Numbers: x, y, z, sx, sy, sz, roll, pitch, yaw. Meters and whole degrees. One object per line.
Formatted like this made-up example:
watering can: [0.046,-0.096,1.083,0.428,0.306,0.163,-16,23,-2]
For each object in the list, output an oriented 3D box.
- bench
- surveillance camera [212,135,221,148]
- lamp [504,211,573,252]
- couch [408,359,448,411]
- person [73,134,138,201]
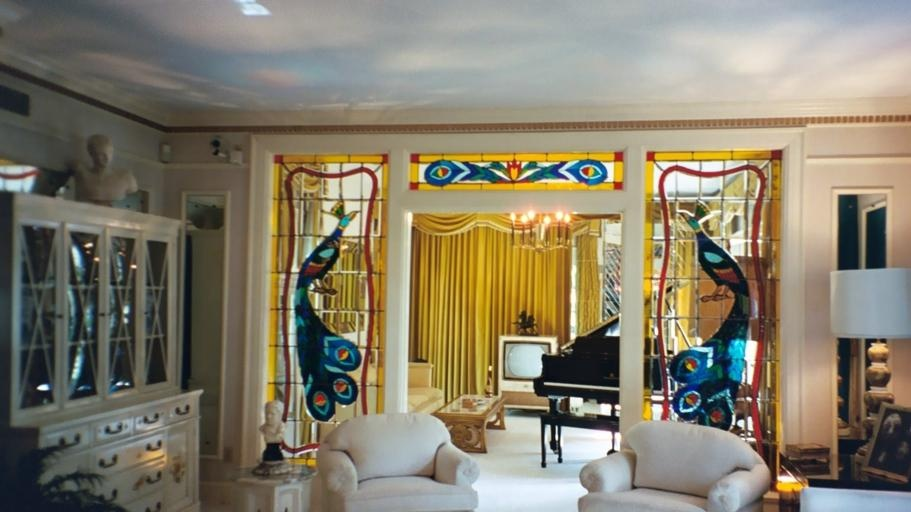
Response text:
bench: [1.587,2.121,9.639,0.852,0.532,0.465,-8,-31,14]
surveillance camera: [-2.673,-1.271,8.963,0.112,0.101,0.026,10,1,-3]
lamp: [1.357,-0.391,12.204,0.742,0.916,0.712,2,-3,-8]
couch: [-0.449,1.885,11.409,0.717,0.691,0.523,1,-3,4]
person: [-3.590,-0.899,8.172,0.823,0.781,0.369,1,0,-25]
